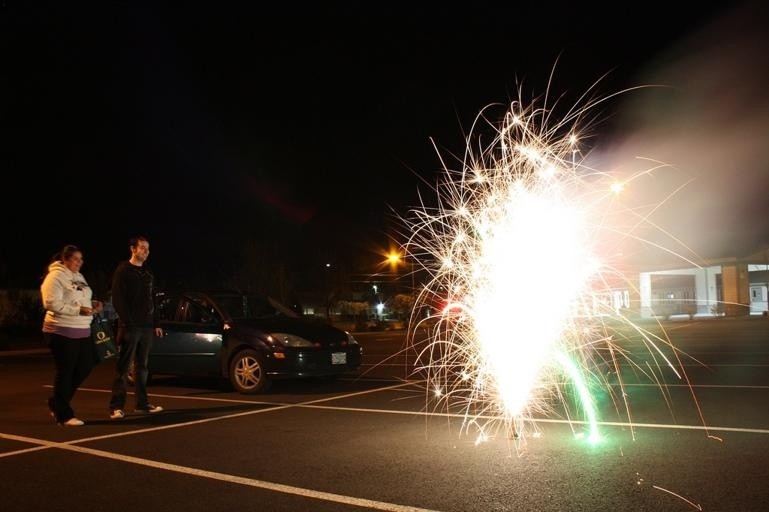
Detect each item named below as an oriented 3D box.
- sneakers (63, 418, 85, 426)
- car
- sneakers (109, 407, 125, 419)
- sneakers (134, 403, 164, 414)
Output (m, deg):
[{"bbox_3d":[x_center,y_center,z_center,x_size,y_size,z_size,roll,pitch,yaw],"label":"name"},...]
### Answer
[{"bbox_3d":[-4.833,2.558,8.659,0.284,0.110,0.125,0,-6,3],"label":"sneakers"},{"bbox_3d":[-2.589,1.717,11.264,4.008,1.395,2.230,-7,-10,27],"label":"car"},{"bbox_3d":[-4.312,2.528,8.971,0.108,0.108,0.248,5,-11,-35],"label":"sneakers"},{"bbox_3d":[-3.995,2.558,9.456,0.442,0.180,0.168,-1,-8,0],"label":"sneakers"}]
